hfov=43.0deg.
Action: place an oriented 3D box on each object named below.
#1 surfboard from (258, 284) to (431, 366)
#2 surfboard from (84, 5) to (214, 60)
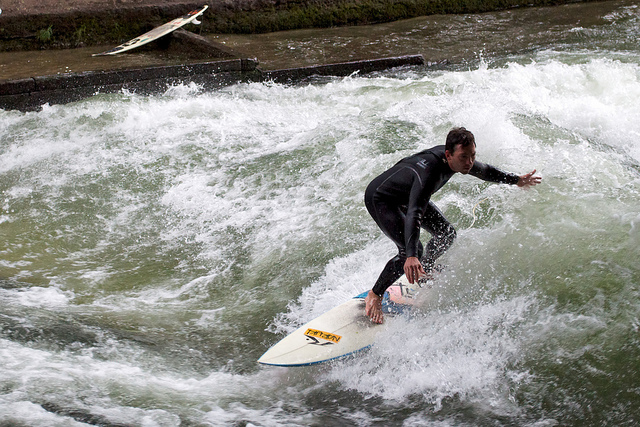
[{"bbox_3d":[0.363,1.475,10.526,1.924,0.237,0.421,-21,49,0],"label":"surfboard"},{"bbox_3d":[-3.846,-3.969,17.995,1.405,0.567,3.540,6,26,39],"label":"surfboard"}]
